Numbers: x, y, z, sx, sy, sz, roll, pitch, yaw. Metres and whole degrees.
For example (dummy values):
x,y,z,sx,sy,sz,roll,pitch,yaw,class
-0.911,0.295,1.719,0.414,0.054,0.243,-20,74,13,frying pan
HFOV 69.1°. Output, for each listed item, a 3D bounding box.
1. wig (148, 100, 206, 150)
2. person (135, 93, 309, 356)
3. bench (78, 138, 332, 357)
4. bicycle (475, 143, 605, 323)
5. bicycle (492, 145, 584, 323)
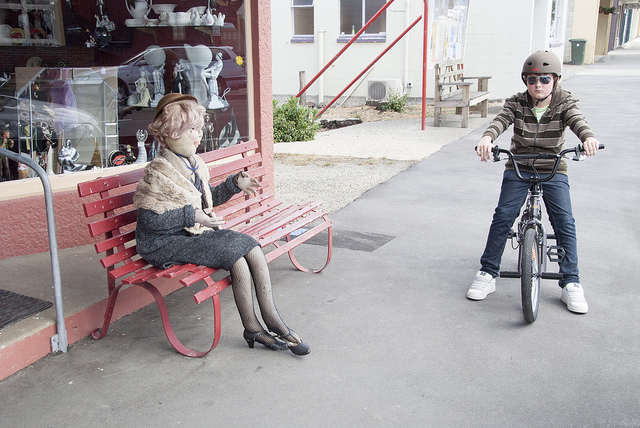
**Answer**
x,y,z,sx,sy,sz,roll,pitch,yaw,class
-1.059,-0.673,3.505,0.409,0.360,0.191,-6,19,-19,wig
-0.774,0.055,3.535,1.131,1.861,0.546,5,19,16,person
-0.916,0.132,4.375,1.218,1.219,2.449,15,20,22,bench
2.126,0.013,4.547,1.164,1.460,2.441,2,17,26,bicycle
1.783,0.104,3.984,0.617,1.412,1.011,9,20,27,bicycle
